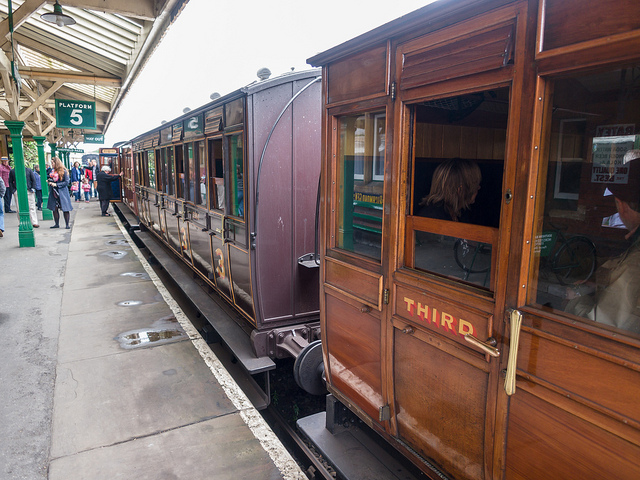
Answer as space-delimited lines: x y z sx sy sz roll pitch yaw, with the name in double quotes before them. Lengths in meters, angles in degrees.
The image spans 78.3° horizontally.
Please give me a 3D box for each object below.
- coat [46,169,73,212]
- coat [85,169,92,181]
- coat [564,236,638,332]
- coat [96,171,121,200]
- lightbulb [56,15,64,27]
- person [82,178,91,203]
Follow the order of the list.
"coat" -8.360 -1.580 12.499 0.660 1.636 0.645 2 14 -17
"coat" -13.436 -3.837 22.761 0.144 0.527 0.370 2 -3 -3
"coat" 1.515 0.198 2.011 0.365 0.383 0.315 -8 15 -35
"coat" -8.729 -2.237 16.020 0.625 1.182 0.852 -6 14 -31
"lightbulb" -4.391 -3.695 6.603 0.093 0.151 0.204 -6 14 -32
"person" -13.156 -2.796 22.099 0.258 1.308 0.435 -6 13 -32
